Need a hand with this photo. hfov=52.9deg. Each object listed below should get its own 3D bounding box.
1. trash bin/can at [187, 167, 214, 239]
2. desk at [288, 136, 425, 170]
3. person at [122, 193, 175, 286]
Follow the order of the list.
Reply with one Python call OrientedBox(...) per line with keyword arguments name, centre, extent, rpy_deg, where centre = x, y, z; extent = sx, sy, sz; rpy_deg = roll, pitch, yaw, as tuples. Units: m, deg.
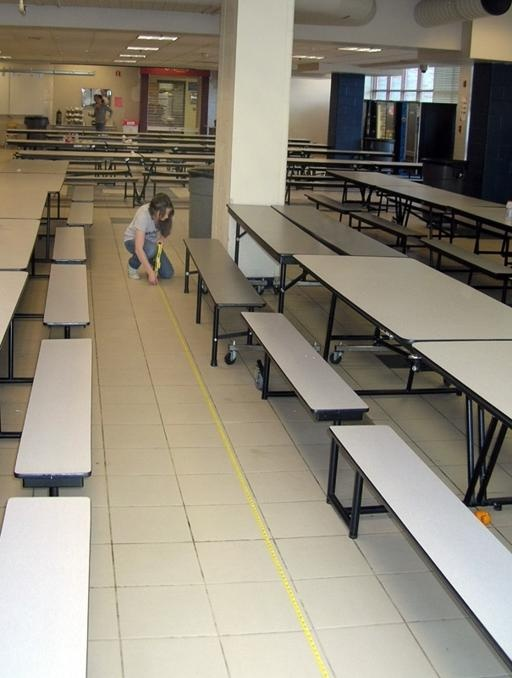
OrientedBox(name="trash bin/can", centre=(-0.740, -1.799, 6.844), extent=(0.314, 0.889, 0.708), rpy_deg=(-2, 15, -9))
OrientedBox(name="desk", centre=(2.883, -5.130, 14.171), extent=(2.829, 0.664, 1.183), rpy_deg=(1, 35, -11))
OrientedBox(name="person", centre=(-1.185, -1.099, 5.683), extent=(0.533, 0.969, 1.070), rpy_deg=(-3, 15, -14))
